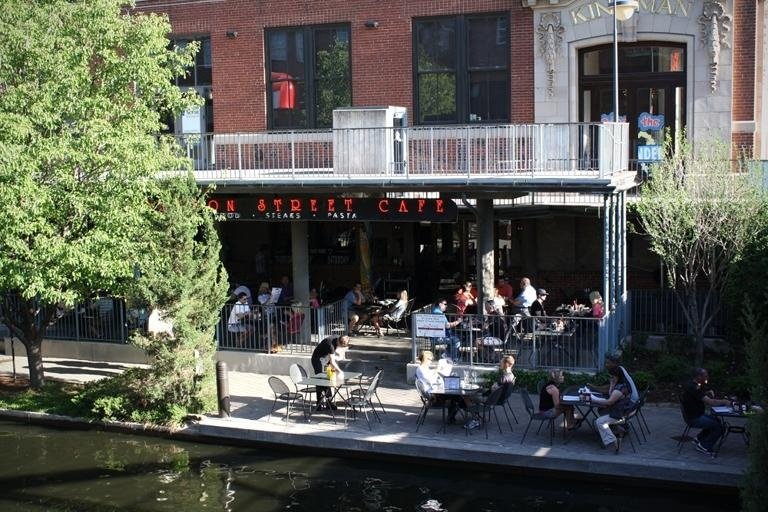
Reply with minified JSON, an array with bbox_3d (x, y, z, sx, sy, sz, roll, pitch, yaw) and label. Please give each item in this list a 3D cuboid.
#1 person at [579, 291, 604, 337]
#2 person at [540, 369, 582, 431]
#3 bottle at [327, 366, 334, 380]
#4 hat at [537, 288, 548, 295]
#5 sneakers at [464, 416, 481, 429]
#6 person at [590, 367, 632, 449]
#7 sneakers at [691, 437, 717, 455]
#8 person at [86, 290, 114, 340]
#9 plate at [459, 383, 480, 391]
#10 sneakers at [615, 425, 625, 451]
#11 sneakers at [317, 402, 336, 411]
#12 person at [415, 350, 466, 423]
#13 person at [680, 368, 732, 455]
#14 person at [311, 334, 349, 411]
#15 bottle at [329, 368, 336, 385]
[{"bbox_3d":[5.728,1.603,28.172,0.652,1.328,0.606,5,9,24],"label":"person"},{"bbox_3d":[4.083,3.351,23.982,0.862,1.406,0.671,-1,1,10],"label":"person"},{"bbox_3d":[-1.298,2.897,25.312,0.267,0.429,0.222,-1,-6,1],"label":"bottle"},{"bbox_3d":[4.762,1.062,30.785,0.360,0.213,0.261,0,10,-26],"label":"hat"},{"bbox_3d":[2.116,3.973,24.471,0.176,0.234,0.488,-2,-5,42],"label":"sneakers"},{"bbox_3d":[5.270,3.435,23.511,0.938,1.760,0.694,-2,1,-26],"label":"person"},{"bbox_3d":[7.183,4.277,22.954,0.508,0.207,0.190,35,-1,4],"label":"sneakers"},{"bbox_3d":[-8.524,1.784,30.752,0.648,0.926,0.665,-2,1,-32],"label":"person"},{"bbox_3d":[2.059,3.083,24.354,0.445,0.132,0.408,-2,1,7],"label":"plate"},{"bbox_3d":[5.383,4.092,23.369,0.241,0.699,0.208,-7,-1,-2],"label":"sneakers"},{"bbox_3d":[-1.480,3.784,25.825,0.603,0.284,0.213,-2,3,2],"label":"sneakers"},{"bbox_3d":[1.365,3.167,24.979,1.088,1.668,1.189,-2,1,1],"label":"person"},{"bbox_3d":[7.239,3.623,23.146,0.974,1.506,0.596,-1,1,21],"label":"person"},{"bbox_3d":[-1.354,2.828,26.059,1.104,1.965,0.735,25,24,37],"label":"person"},{"bbox_3d":[-1.232,2.969,25.217,0.173,0.349,0.624,-2,1,-3],"label":"bottle"}]
